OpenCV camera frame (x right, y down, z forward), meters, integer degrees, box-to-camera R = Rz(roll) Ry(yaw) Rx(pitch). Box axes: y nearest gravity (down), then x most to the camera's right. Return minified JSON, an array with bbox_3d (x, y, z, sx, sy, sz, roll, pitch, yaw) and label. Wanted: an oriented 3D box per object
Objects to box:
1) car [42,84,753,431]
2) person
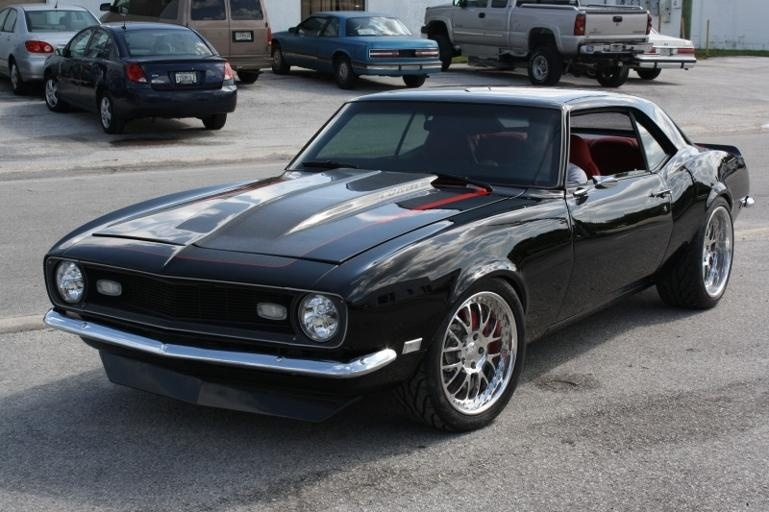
[{"bbox_3d":[0.563,-0.474,5.030,2.666,1.204,5.081,17,27,42],"label":"car"},{"bbox_3d":[1.038,-0.705,4.422,0.640,0.580,0.610,-3,5,4],"label":"person"}]
